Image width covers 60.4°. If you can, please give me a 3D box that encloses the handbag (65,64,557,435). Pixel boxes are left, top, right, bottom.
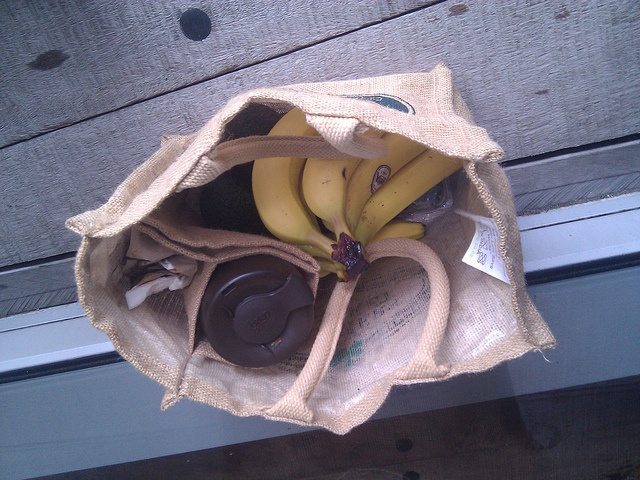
[{"bbox_3d":[-0.044,0.034,1.196,0.851,0.636,0.329,-13,5,4],"label":"handbag"}]
